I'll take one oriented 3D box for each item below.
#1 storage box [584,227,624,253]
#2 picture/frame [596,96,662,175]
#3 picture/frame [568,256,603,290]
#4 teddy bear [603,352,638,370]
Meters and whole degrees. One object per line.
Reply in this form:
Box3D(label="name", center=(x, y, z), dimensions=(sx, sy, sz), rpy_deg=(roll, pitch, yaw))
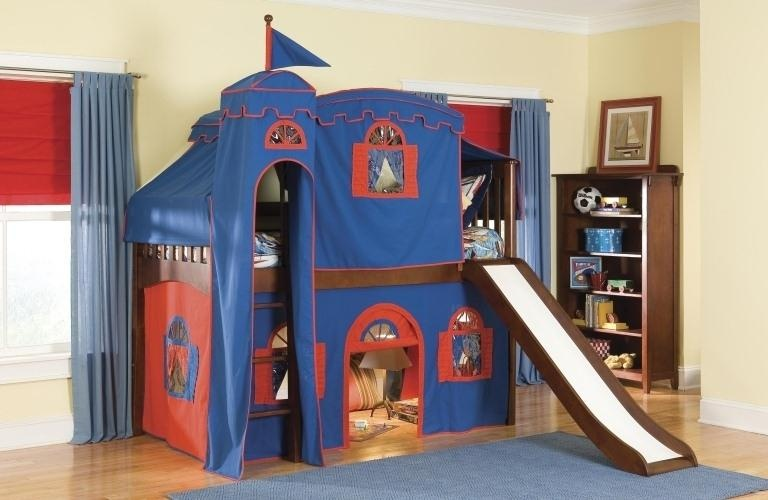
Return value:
Box3D(label="storage box", center=(2.246, -0.101, 7.675), dimensions=(0.386, 0.261, 0.283), rpy_deg=(2, 9, 15))
Box3D(label="picture/frame", center=(2.537, -1.175, 7.685), dimensions=(0.850, 1.108, 0.083), rpy_deg=(0, -2, 40))
Box3D(label="picture/frame", center=(2.063, 0.235, 7.662), dimensions=(0.345, 0.375, 0.051), rpy_deg=(0, -2, -8))
Box3D(label="teddy bear", center=(2.357, 1.118, 7.472), dimensions=(0.363, 0.162, 0.303), rpy_deg=(-1, 3, -6))
